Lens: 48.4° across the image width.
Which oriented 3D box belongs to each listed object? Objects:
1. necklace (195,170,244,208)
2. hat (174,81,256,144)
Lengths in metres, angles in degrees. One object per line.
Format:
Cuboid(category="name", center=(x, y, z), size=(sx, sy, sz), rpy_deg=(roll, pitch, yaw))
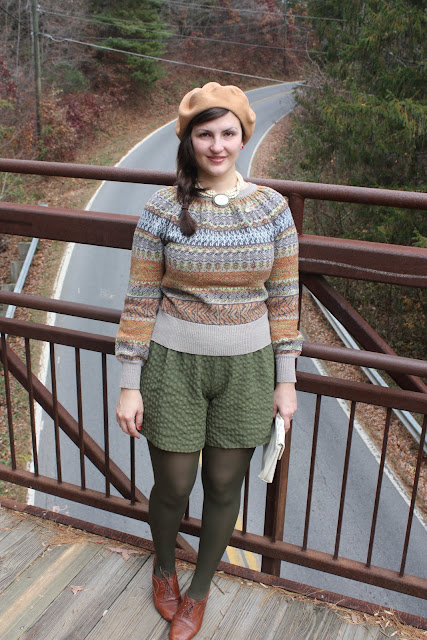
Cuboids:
Cuboid(category="necklace", center=(0.041, -0.361, 1.273), size=(0.099, 0.040, 0.182), rpy_deg=(30, 51, 26))
Cuboid(category="hat", center=(0.004, -0.537, 1.261), size=(0.206, 0.195, 0.189), rpy_deg=(-1, 44, -2))
